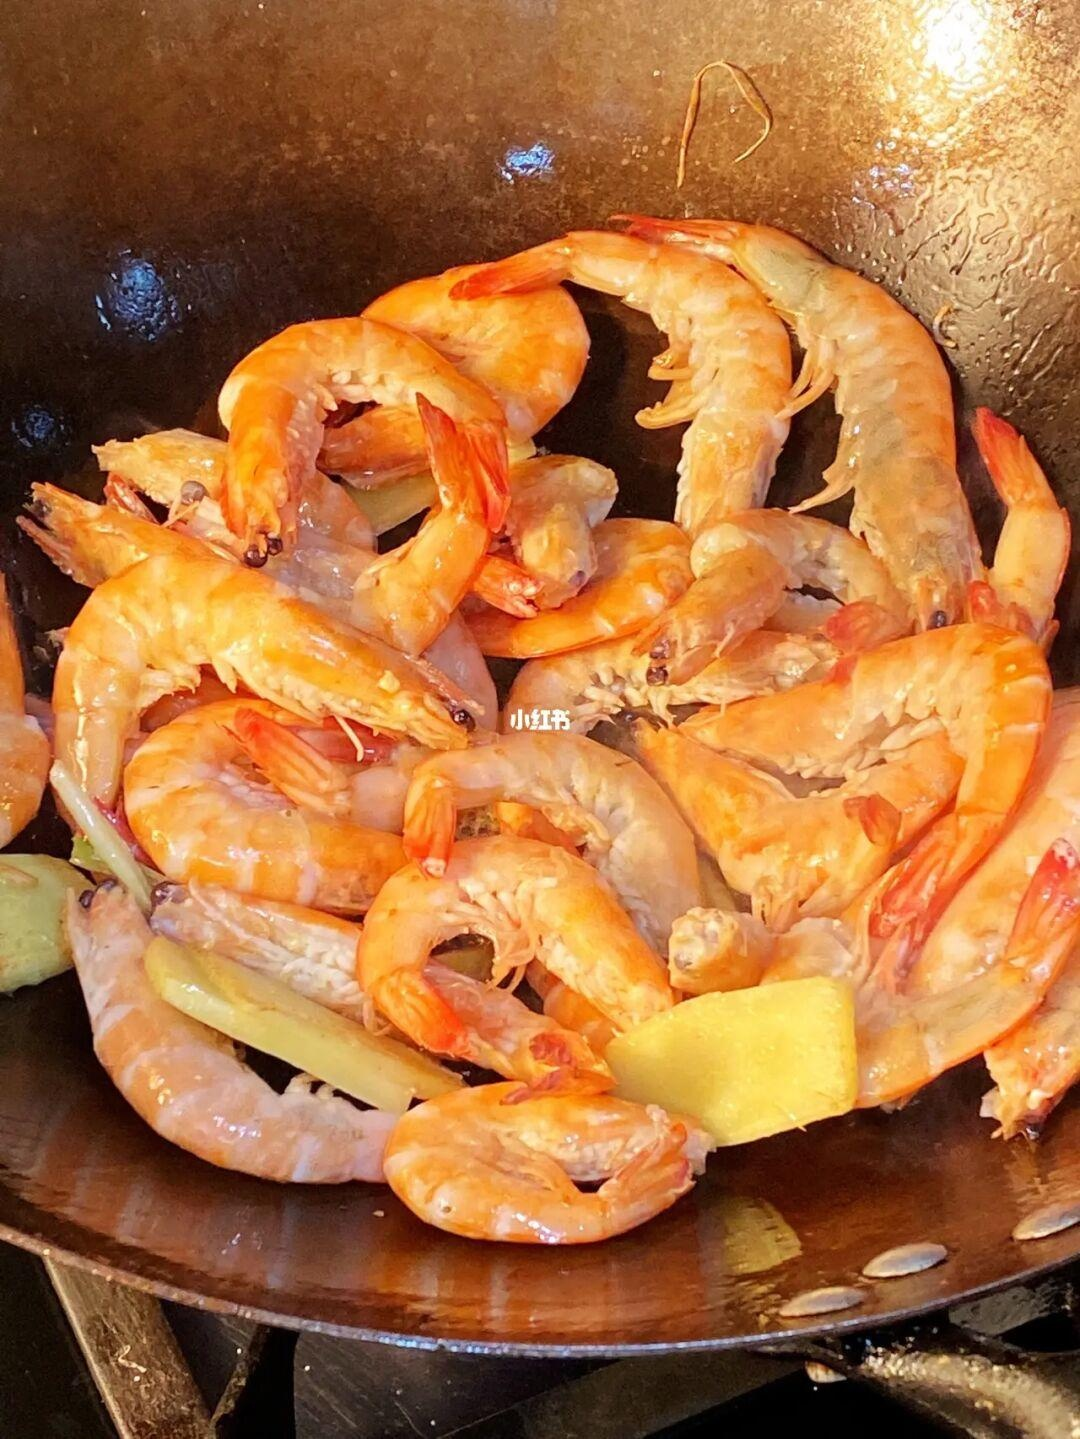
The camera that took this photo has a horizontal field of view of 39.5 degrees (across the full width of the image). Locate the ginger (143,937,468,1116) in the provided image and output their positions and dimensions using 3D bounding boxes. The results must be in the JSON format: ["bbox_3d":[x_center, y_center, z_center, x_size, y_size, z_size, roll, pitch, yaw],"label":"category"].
[{"bbox_3d":[-0.396,0.496,2.394,0.542,0.157,0.105,25,80,4],"label":"ginger"}]

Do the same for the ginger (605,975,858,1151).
[{"bbox_3d":[0.299,0.520,2.264,0.365,0.138,0.222,-20,80,-5],"label":"ginger"}]
